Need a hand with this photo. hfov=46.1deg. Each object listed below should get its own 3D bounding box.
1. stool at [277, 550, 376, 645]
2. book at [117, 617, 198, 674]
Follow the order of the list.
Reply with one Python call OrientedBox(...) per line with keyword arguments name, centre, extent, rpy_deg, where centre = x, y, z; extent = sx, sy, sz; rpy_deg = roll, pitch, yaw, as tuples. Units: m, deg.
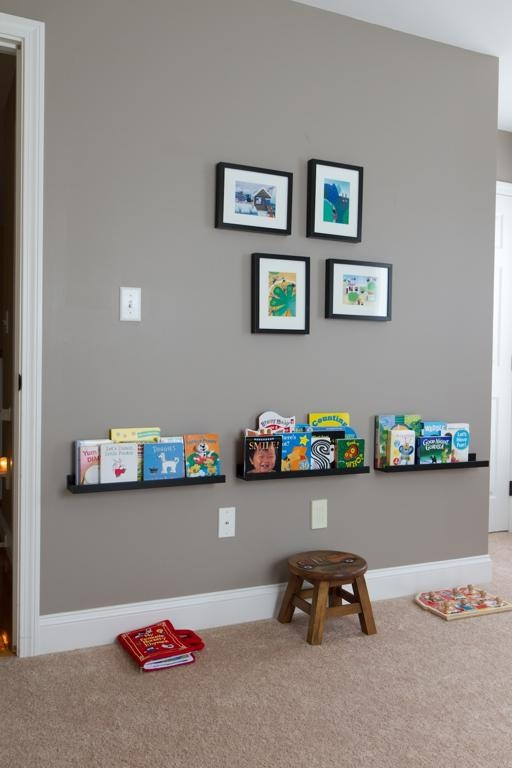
OrientedBox(name="stool", centre=(0.248, 0.693, 2.076), extent=(0.267, 0.234, 0.273), rpy_deg=(3, -5, -22))
OrientedBox(name="book", centre=(-0.290, 0.807, 1.882), extent=(0.232, 0.049, 0.261), rpy_deg=(2, -2, -29))
